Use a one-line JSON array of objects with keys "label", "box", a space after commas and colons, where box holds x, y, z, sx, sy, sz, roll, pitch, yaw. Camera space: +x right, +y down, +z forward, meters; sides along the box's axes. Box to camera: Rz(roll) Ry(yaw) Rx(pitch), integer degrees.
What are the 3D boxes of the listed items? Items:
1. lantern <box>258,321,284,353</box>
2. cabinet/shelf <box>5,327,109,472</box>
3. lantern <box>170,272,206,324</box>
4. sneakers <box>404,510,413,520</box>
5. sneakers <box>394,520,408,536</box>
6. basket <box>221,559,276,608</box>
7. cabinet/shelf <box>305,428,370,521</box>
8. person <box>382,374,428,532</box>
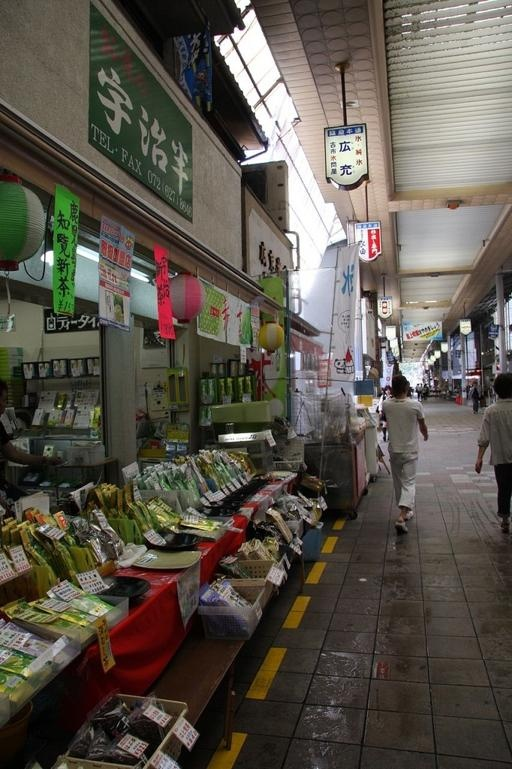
[{"label": "lantern", "box": [0.198, -0.562, 5.638, 0.269, 0.362, 0.298, 1, 5, 5]}, {"label": "cabinet/shelf", "box": [-2.065, 0.176, 5.122, 1.269, 1.389, 0.473, 0, -8, 23]}, {"label": "lantern", "box": [-0.467, -0.647, 3.521, 0.253, 0.343, 0.272, -1, 5, 3]}, {"label": "sneakers", "box": [1.717, 1.442, 5.432, 0.074, 0.114, 0.235, -6, -11, 21]}, {"label": "sneakers", "box": [1.498, 1.450, 4.988, 0.091, 0.129, 0.264, 0, -7, 16]}, {"label": "basket", "box": [-0.018, 1.067, 2.613, 0.184, 0.191, 0.297, -1, -21, 4]}, {"label": "cabinet/shelf", "box": [1.039, 1.032, 6.112, 0.703, 1.053, 1.323, -1, -1, 12]}, {"label": "person", "box": [1.665, 0.707, 5.457, 0.475, 1.637, 1.240, -4, -4, 19]}]
